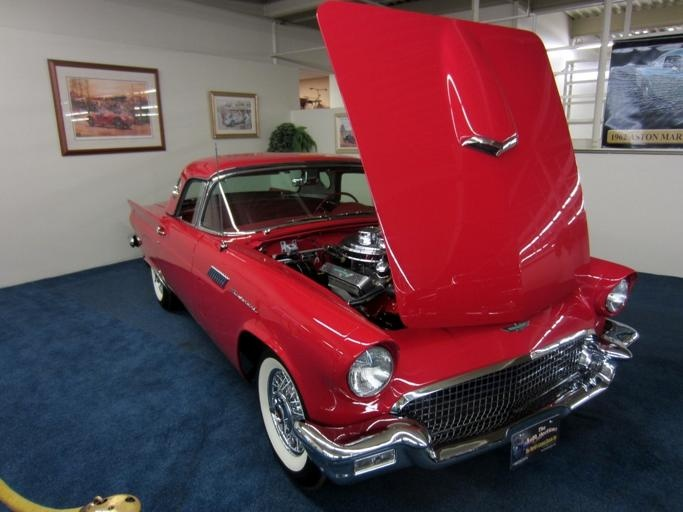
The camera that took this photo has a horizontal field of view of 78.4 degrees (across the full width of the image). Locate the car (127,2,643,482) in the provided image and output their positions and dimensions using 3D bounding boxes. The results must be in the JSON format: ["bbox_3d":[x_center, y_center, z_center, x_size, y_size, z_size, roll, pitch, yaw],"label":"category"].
[{"bbox_3d":[-0.066,-0.469,2.903,2.095,1.789,3.456,-17,34,-29],"label":"car"}]
